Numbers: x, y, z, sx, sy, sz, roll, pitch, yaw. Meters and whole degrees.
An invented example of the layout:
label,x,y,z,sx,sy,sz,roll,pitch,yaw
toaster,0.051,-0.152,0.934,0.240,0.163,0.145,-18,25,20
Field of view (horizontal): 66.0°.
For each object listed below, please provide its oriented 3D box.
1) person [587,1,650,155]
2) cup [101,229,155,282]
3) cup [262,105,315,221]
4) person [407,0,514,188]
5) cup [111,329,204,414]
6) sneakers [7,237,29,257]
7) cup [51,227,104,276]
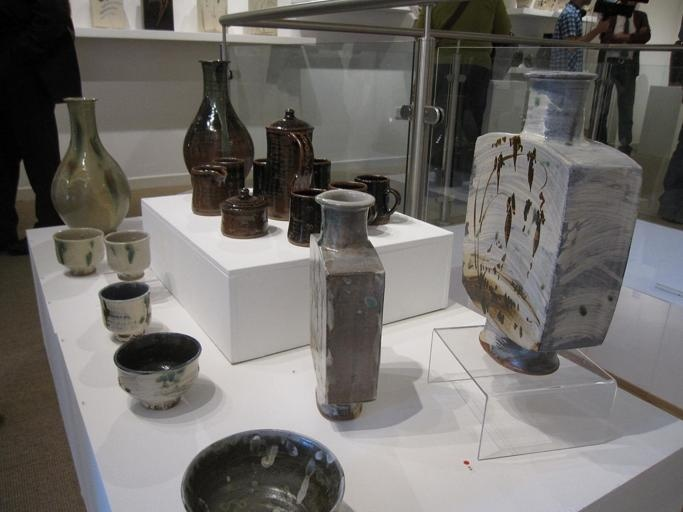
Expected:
label,x,y,z,sx,sy,sz,roll,pitch,yaw
person,1.549,-1.132,2.929,0.277,0.520,2.792,10,27,26
cup,-0.656,-0.002,1.684,0.132,0.166,0.146,1,15,-1
cup,-0.153,-0.277,1.594,0.128,0.325,0.192,-11,24,-32
person,0.530,-0.758,2.431,0.365,0.757,0.830,3,24,11
cup,-0.428,0.277,1.227,0.183,0.129,0.184,4,17,-1
sneakers,-1.724,-0.042,2.807,0.070,0.075,0.153,23,18,41
cup,-0.885,-0.007,1.772,0.136,0.141,0.157,13,17,13
